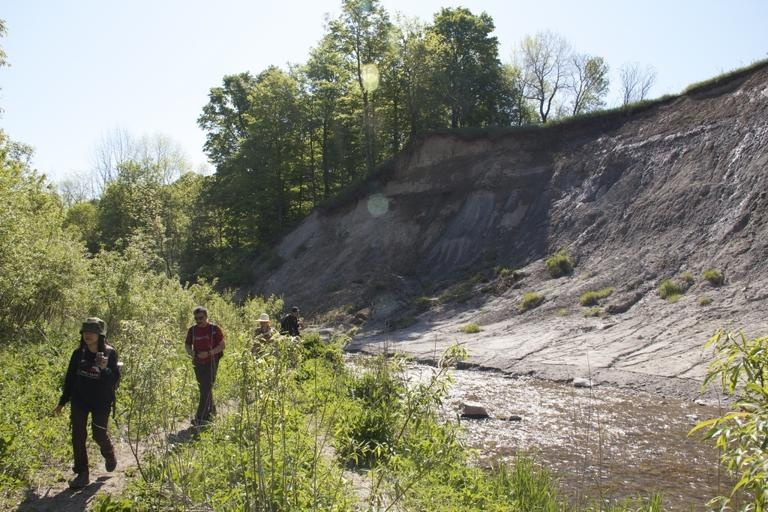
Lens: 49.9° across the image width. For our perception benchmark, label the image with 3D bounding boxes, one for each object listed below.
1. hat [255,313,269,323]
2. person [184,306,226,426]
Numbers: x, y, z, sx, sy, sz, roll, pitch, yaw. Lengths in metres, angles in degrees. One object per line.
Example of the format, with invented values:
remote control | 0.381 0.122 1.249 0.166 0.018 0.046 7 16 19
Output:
hat | -4.432 2.209 29.622 0.587 0.327 0.587 -1 -6 43
person | -5.703 3.426 25.811 1.210 3.753 1.044 6 -18 -15
